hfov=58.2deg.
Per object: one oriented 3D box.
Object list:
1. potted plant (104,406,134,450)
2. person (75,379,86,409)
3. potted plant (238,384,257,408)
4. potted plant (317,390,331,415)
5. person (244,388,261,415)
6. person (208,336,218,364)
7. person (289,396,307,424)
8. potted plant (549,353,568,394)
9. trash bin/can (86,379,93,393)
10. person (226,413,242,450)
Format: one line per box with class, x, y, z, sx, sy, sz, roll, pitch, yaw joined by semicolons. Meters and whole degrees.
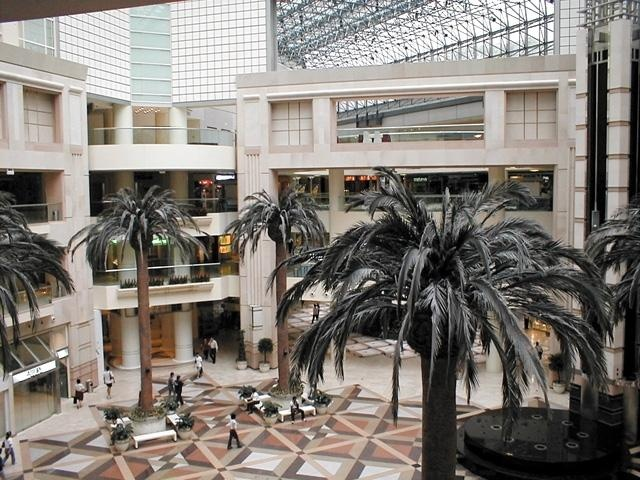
potted plant;-7.496;7.068;21.335;0.731;0.703;1.827;-1;6;-22
person;-10.424;6.565;24.652;0.368;1.169;0.869;-5;7;-27
potted plant;-2.839;6.632;24.153;0.580;0.972;0.860;-1;0;-33
potted plant;0.189;6.660;23.443;0.631;0.670;0.652;0;-2;2
person;-2.798;6.712;23.907;0.684;1.185;0.680;4;-4;-43
person;-5.741;5.779;30.627;0.464;1.204;1.651;-3;6;-13
person;-0.884;6.617;22.699;0.509;1.044;0.751;-2;6;3
potted plant;10.533;5.770;25.204;0.726;1.973;1.215;1;7;24
trash bin/can;-10.578;6.667;26.361;0.247;0.579;0.487;0;6;16
person;-3.225;6.761;21.433;0.521;1.253;2.077;-3;6;-9
